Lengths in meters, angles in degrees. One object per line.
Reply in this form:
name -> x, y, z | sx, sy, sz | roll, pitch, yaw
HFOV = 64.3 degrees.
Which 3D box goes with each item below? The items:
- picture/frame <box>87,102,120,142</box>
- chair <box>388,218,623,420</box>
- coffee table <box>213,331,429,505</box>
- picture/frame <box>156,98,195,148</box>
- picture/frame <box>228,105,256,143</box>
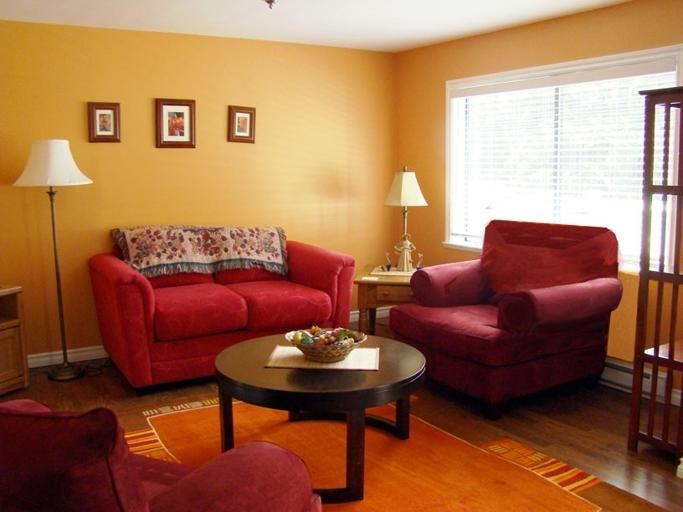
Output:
picture/frame -> -1.938, -1.093, 4.390 | 0.328, 0.417, 0.045 | -3, 7, -36
chair -> 1.225, 0.325, 3.886 | 1.338, 1.150, 1.335 | -2, 5, -31
coffee table -> -0.055, 0.760, 2.913 | 0.849, 0.435, 0.852 | 5, 10, 22
picture/frame -> -1.432, -1.145, 4.624 | 0.422, 0.514, 0.053 | -4, 8, -33
picture/frame -> -0.907, -1.190, 4.865 | 0.333, 0.404, 0.044 | -4, 10, -34
